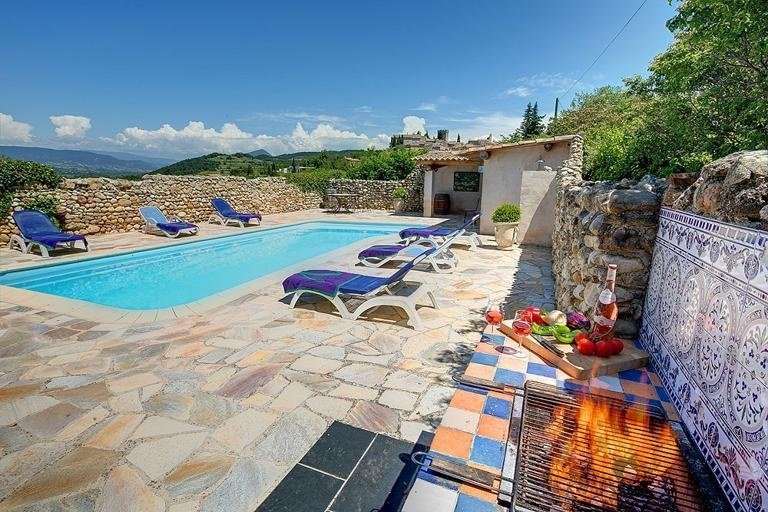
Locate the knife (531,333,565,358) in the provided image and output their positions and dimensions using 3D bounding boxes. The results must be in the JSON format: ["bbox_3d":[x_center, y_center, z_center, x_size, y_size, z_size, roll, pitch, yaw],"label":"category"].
[{"bbox_3d":[1.884,1.057,4.387,0.237,0.033,0.804,-5,6,-5],"label":"knife"}]

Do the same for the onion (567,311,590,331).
[{"bbox_3d":[2.319,0.802,4.607,0.199,0.071,0.229,-5,15,-26],"label":"onion"}]

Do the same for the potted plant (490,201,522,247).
[{"bbox_3d":[3.587,-0.870,11.275,0.693,1.297,0.800,4,18,17],"label":"potted plant"}]

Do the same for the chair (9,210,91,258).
[{"bbox_3d":[-8.918,-0.638,10.314,2.263,0.804,1.196,13,19,28],"label":"chair"}]

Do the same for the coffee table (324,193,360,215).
[{"bbox_3d":[-2.569,-3.477,23.322,2.213,0.830,1.870,-2,5,-5],"label":"coffee table"}]
